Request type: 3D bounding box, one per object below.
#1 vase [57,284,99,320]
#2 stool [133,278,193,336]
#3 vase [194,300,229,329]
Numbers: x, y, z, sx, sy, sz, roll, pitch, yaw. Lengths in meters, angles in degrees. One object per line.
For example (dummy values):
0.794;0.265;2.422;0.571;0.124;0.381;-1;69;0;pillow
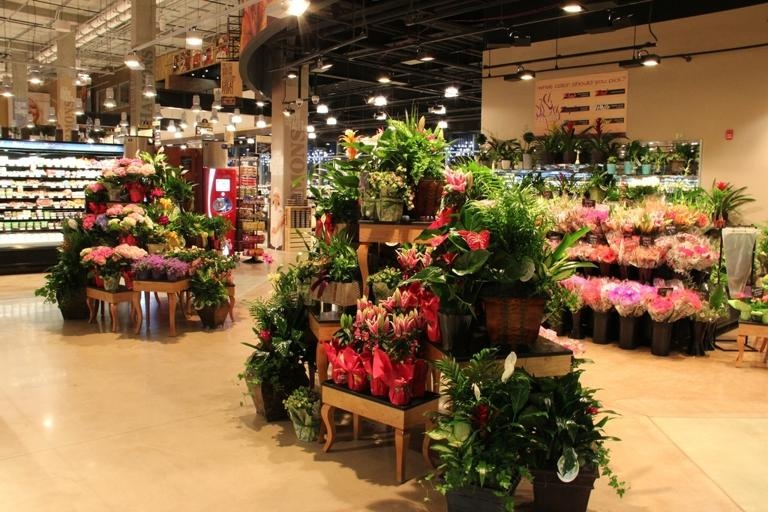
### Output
-4.647;0.694;8.351;0.506;0.556;0.541;-1;0;40;vase
-3.224;0.662;7.900;0.729;0.794;1.245;-5;14;-25;stool
-2.452;0.843;7.967;0.395;0.375;0.470;-1;2;22;vase
